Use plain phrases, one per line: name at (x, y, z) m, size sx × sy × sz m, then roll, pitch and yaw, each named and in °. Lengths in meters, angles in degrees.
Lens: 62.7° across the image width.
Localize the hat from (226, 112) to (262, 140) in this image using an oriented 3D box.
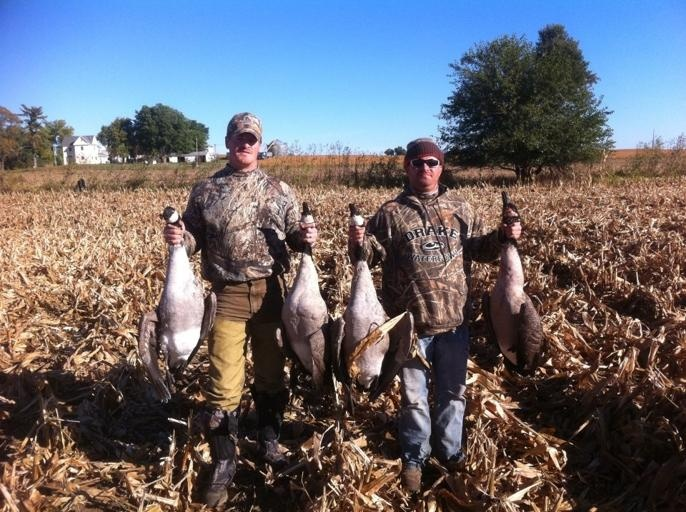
hat at (-0.951, -1.206, 5.253) m, size 0.332 × 0.243 × 0.168 m, roll 0°, pitch 11°, yaw -4°

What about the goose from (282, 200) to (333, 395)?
goose at (-0.348, 0.538, 5.085) m, size 0.431 × 1.263 × 0.297 m, roll 1°, pitch 11°, yaw 3°

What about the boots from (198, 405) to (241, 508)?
boots at (-1.152, 1.861, 5.273) m, size 0.312 × 0.909 × 0.306 m, roll -1°, pitch 11°, yaw -12°

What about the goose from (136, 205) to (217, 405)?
goose at (-1.504, 0.601, 5.081) m, size 0.671 × 1.407 × 0.333 m, roll -2°, pitch 11°, yaw -14°

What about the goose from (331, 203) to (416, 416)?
goose at (0.280, 0.621, 4.993) m, size 0.740 × 1.339 × 0.407 m, roll 2°, pitch 11°, yaw 8°
